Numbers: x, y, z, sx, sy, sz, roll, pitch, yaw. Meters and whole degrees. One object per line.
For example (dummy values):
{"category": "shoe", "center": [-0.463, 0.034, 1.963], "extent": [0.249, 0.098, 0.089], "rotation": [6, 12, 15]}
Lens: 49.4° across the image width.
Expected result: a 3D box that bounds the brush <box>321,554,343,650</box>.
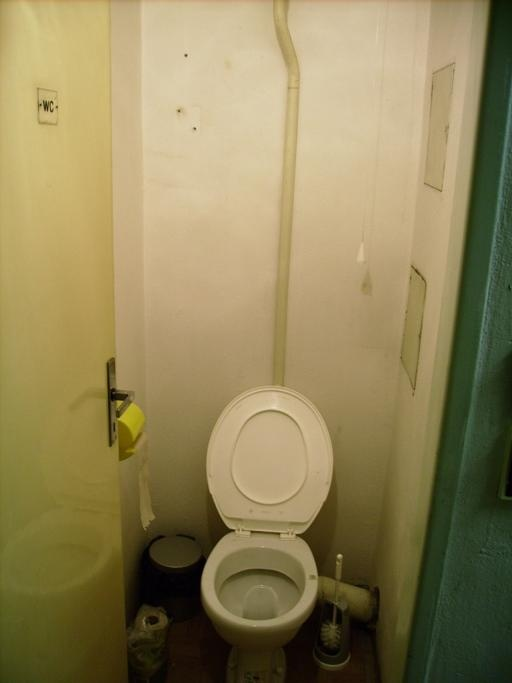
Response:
{"category": "brush", "center": [0.223, 0.785, 1.638], "extent": [0.062, 0.309, 0.097], "rotation": [2, 20, 0]}
